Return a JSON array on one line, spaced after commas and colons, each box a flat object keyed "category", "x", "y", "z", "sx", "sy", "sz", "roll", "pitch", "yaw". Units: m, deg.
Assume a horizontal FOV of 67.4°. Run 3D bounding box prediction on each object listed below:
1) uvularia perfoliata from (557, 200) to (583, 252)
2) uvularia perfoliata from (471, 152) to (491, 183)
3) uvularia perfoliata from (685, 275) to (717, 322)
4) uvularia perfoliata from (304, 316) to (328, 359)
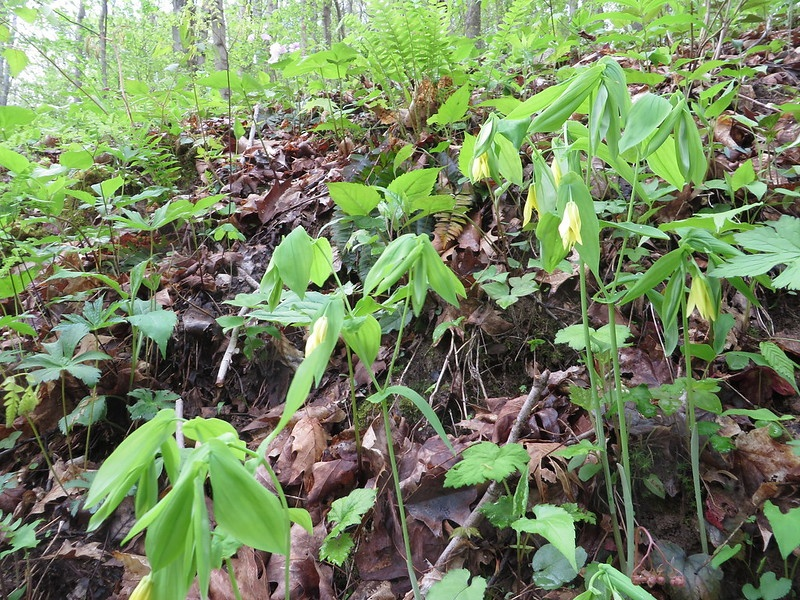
[{"category": "uvularia perfoliata", "x": 0.855, "y": -0.371, "z": 3.016, "sx": 0.110, "sy": 0.251, "sz": 0.161, "roll": -2, "pitch": 20, "yaw": 13}, {"category": "uvularia perfoliata", "x": 0.425, "y": -0.685, "z": 3.084, "sx": 0.133, "sy": 0.150, "sz": 0.096, "roll": -24, "pitch": 26, "yaw": -38}, {"category": "uvularia perfoliata", "x": 1.630, "y": -0.027, "z": 3.234, "sx": 0.144, "sy": 0.281, "sz": 0.265, "roll": 4, "pitch": 23, "yaw": 28}, {"category": "uvularia perfoliata", "x": -0.390, "y": 0.176, "z": 2.836, "sx": 0.076, "sy": 0.237, "sz": 0.084, "roll": 19, "pitch": 11, "yaw": -23}]
